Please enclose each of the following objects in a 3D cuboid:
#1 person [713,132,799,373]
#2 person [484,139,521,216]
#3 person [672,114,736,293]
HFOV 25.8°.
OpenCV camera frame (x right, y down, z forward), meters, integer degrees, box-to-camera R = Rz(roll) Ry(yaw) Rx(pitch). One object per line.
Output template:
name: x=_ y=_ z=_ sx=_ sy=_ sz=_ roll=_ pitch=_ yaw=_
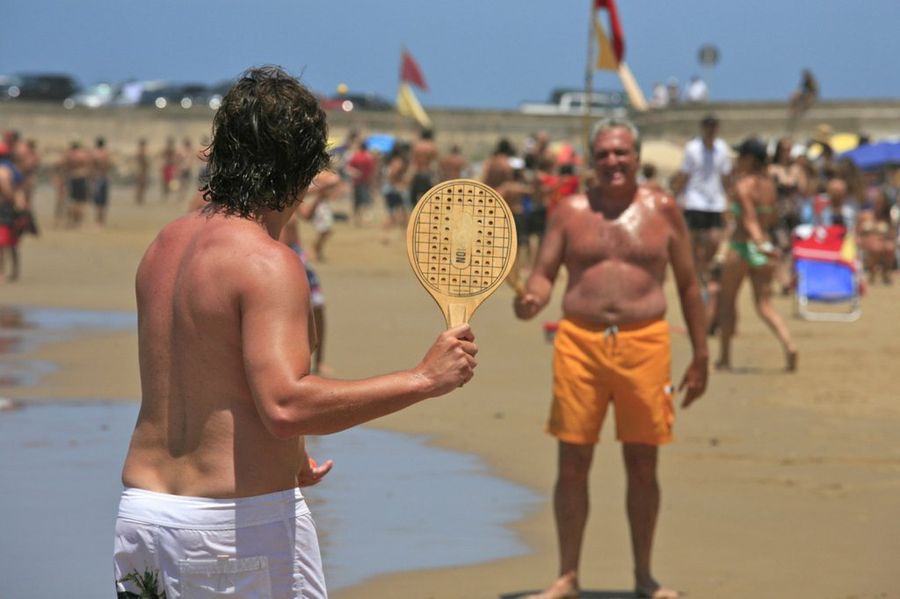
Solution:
person: x=2.858 y=-0.456 z=17.794 sx=0.738 sy=2.003 sz=0.861 roll=1 pitch=-1 yaw=4
person: x=0.701 y=-1.654 z=25.400 sx=0.473 sy=1.124 sz=0.638 roll=0 pitch=11 yaw=0
person: x=2.483 y=-0.895 z=18.407 sx=0.541 sy=1.513 sz=0.733 roll=0 pitch=-3 yaw=1
